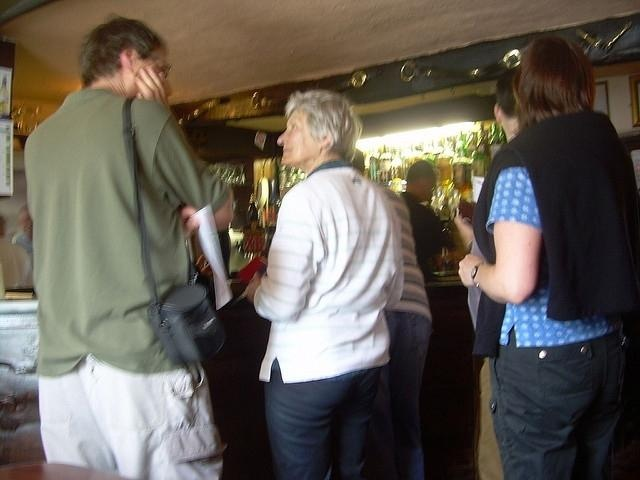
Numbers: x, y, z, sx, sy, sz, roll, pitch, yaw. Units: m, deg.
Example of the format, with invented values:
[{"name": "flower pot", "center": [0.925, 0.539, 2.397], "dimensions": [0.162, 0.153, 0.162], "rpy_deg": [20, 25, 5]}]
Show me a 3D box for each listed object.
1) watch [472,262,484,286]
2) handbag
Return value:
[{"name": "watch", "center": [0.567, 0.127, 1.734], "dimensions": [0.021, 0.062, 0.049], "rpy_deg": [1, 23, 23]}, {"name": "handbag", "center": [-0.433, 0.258, 1.617], "dimensions": [0.202, 0.220, 0.214], "rpy_deg": [-6, 30, 2]}]
